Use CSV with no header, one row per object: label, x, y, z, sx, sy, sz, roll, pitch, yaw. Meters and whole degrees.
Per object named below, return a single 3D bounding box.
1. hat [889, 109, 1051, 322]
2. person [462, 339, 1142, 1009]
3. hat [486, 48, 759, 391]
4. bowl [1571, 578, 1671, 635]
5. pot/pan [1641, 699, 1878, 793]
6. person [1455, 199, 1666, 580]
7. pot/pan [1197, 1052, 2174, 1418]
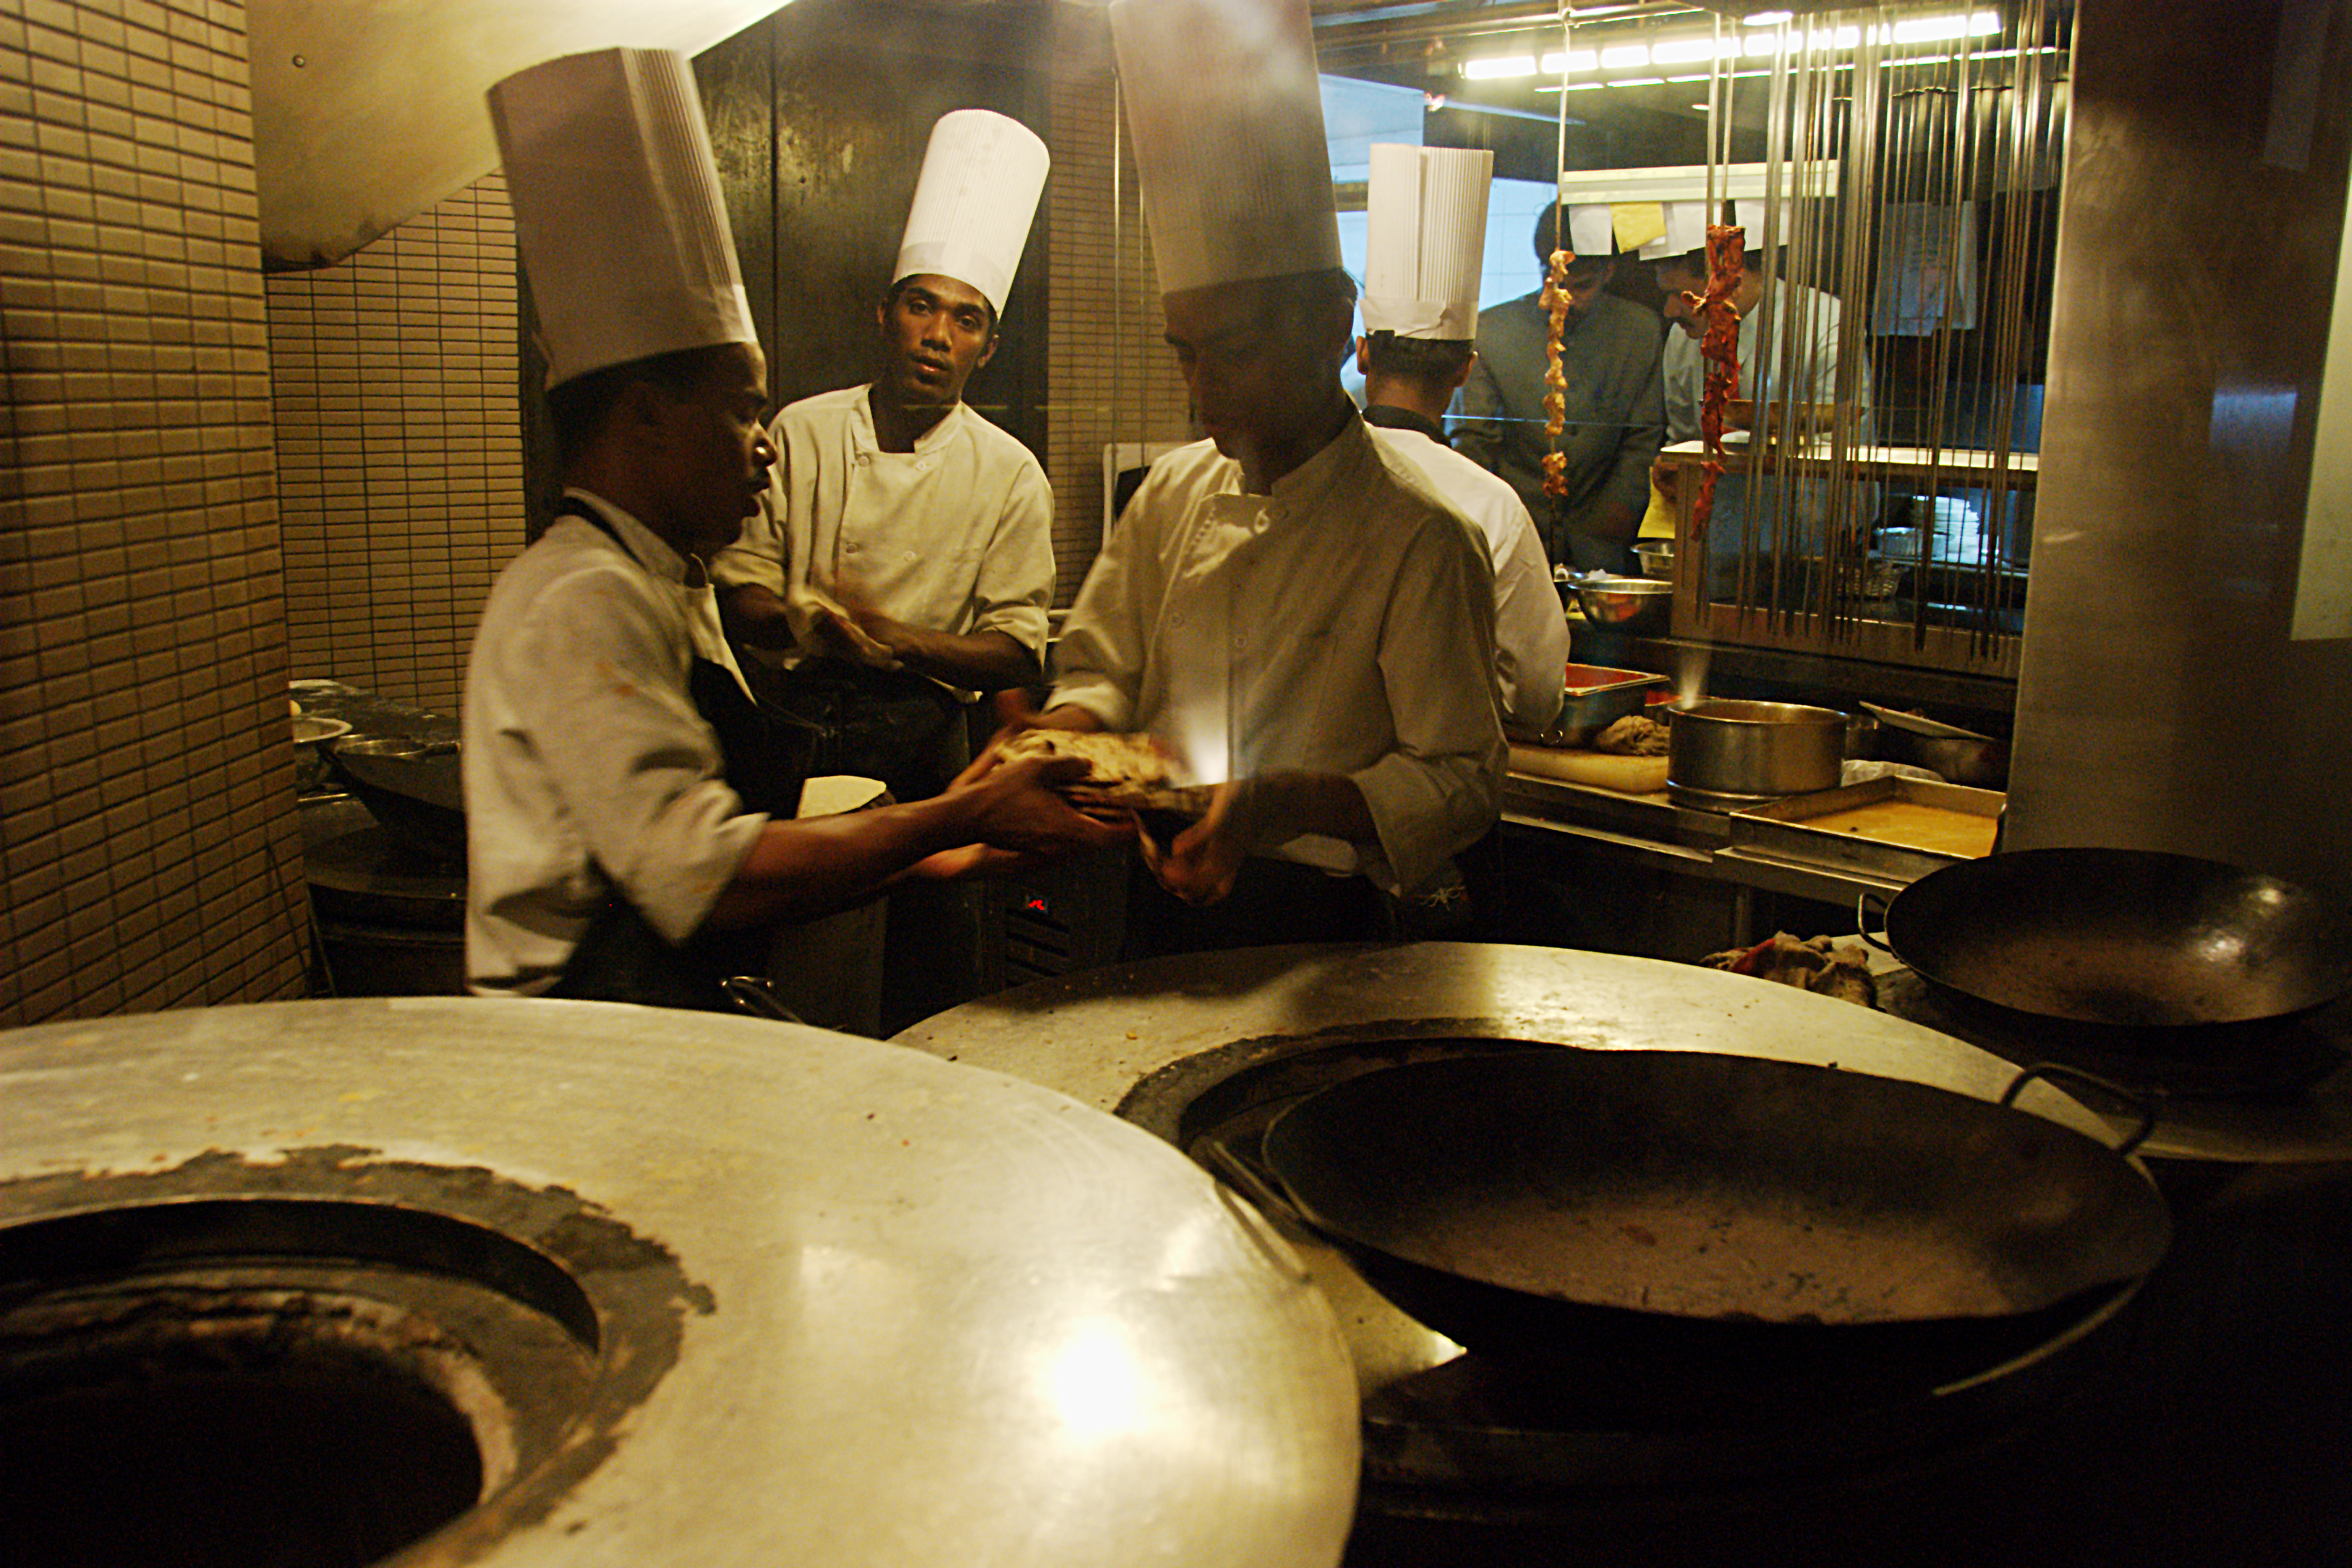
hat,-0.472,-1.233,3.726,0.281,0.389,0.261,2,-4,7
person,-0.460,-0.145,2.238,0.885,0.894,0.594,0,11,-23
hat,-0.699,-0.722,2.232,0.279,0.419,0.198,-6,13,-21
bowl,1.167,-0.476,4.589,0.241,0.137,0.166,1,11,11
pot/pan,1.188,-0.129,3.751,0.267,0.116,0.266,-6,10,-31
person,1.290,-1.095,6.019,0.757,1.621,0.571,-4,45,10
pot/pan,0.504,0.424,1.702,0.824,0.217,0.468,0,11,5
